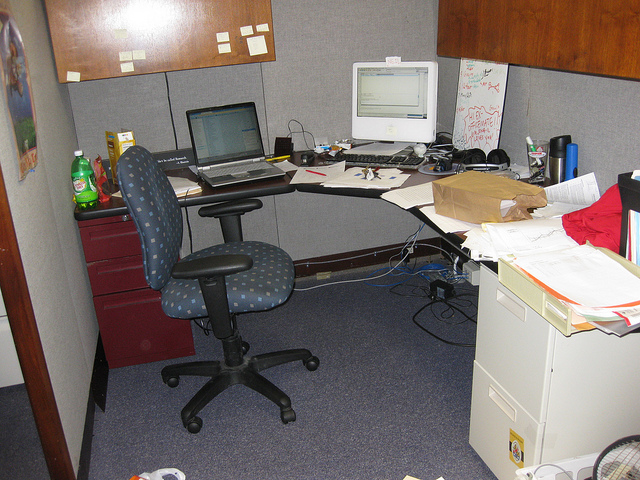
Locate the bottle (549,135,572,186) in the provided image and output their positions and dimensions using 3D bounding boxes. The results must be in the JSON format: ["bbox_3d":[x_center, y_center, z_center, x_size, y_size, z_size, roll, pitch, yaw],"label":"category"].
[{"bbox_3d":[1.127,-0.370,2.409,0.096,0.223,0.097,-5,20,2],"label":"bottle"}]

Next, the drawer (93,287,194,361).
[{"bbox_3d":[-0.954,0.433,2.783,0.437,0.423,0.446,-6,11,-25],"label":"drawer"}]

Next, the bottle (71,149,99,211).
[{"bbox_3d":[-1.214,-0.307,2.637,0.118,0.281,0.180,-13,22,-21],"label":"bottle"}]

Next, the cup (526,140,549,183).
[{"bbox_3d":[1.066,-0.381,2.516,0.093,0.181,0.129,2,21,19],"label":"cup"}]

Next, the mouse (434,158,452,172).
[{"bbox_3d":[0.659,-0.403,2.776,0.088,0.060,0.067,-17,23,-29],"label":"mouse"}]

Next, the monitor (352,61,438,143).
[{"bbox_3d":[0.467,-0.838,3.106,0.529,0.446,0.166,9,20,30],"label":"monitor"}]

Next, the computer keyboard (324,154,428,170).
[{"bbox_3d":[0.315,-0.446,2.945,0.588,0.075,0.180,0,21,13],"label":"computer keyboard"}]

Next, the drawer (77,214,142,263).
[{"bbox_3d":[-1.081,-0.009,2.634,0.347,0.252,0.235,-6,16,-23],"label":"drawer"}]

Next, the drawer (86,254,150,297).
[{"bbox_3d":[-1.057,0.184,2.675,0.332,0.162,0.223,-7,15,-27],"label":"drawer"}]

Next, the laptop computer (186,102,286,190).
[{"bbox_3d":[-0.479,-0.539,2.905,0.502,0.344,0.537,-21,33,-35],"label":"laptop computer"}]
